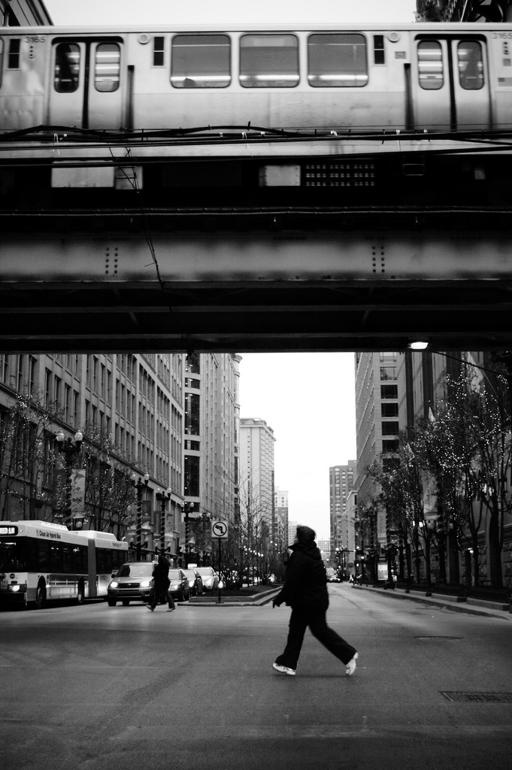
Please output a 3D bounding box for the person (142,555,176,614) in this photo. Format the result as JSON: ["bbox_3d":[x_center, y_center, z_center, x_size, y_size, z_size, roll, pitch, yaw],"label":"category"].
[{"bbox_3d":[-2.988,6.329,26.235,0.619,1.725,0.500,7,-37,-18],"label":"person"}]

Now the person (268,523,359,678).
[{"bbox_3d":[0.603,2.179,8.381,0.832,1.472,2.453,0,-15,1],"label":"person"}]
